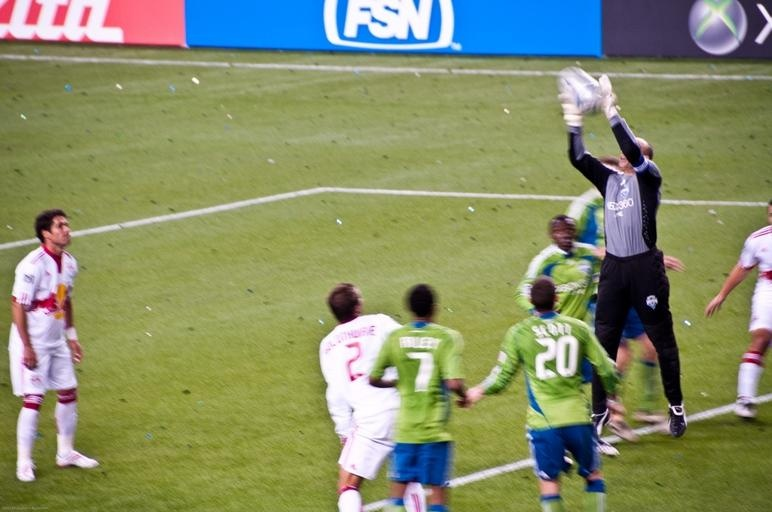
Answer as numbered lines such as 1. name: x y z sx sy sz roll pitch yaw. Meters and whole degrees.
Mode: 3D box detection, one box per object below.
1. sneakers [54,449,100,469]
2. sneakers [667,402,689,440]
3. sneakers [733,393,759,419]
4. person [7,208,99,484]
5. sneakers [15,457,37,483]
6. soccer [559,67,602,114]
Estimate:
1. sneakers: -3.470 2.289 12.590 0.542 0.218 0.187 0 11 -7
2. sneakers: 3.315 1.883 12.641 0.204 0.408 0.212 0 -3 6
3. sneakers: 4.237 1.768 13.079 0.298 0.285 0.200 -5 10 -1
4. person: -3.820 0.956 12.502 0.881 2.904 0.618 -8 11 -16
5. sneakers: -4.023 2.404 12.466 0.200 0.255 0.277 -1 7 -39
6. soccer: 2.109 -1.800 12.280 0.424 0.520 0.204 -32 -11 -15
